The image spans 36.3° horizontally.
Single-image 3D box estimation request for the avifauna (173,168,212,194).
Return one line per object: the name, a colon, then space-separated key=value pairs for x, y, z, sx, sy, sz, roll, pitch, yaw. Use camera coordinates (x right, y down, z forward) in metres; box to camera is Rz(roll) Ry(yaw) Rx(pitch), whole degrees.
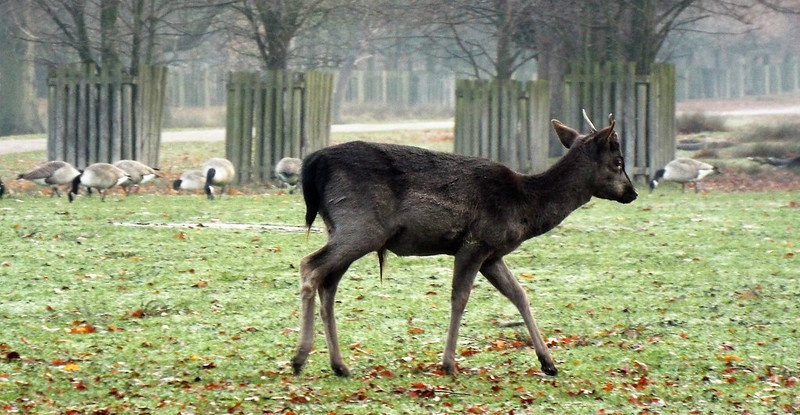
avifauna: x=-8.375 y=-1.021 z=48.582 sx=1.367 sy=0.661 sz=0.804 roll=-2 pitch=30 yaw=28
